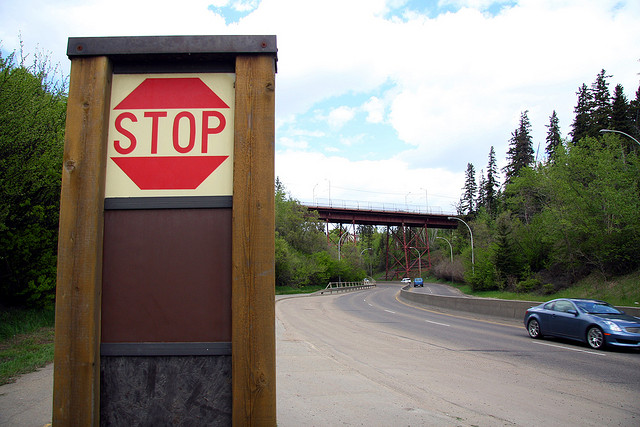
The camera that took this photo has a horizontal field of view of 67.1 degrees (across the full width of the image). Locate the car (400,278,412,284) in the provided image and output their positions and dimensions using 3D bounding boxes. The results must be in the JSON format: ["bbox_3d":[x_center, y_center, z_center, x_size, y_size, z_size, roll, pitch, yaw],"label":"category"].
[{"bbox_3d":[16.429,12.851,92.092,1.384,1.117,2.333,2,-1,-27],"label":"car"}]

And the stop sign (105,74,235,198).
[{"bbox_3d":[-1.883,-0.985,6.107,1.593,1.622,0.088,2,-5,1],"label":"stop sign"}]

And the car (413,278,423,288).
[{"bbox_3d":[16.095,11.369,78.905,1.074,0.981,2.635,0,-1,10],"label":"car"}]

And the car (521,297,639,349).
[{"bbox_3d":[8.147,3.350,14.969,1.384,1.059,3.364,8,-16,-18],"label":"car"}]
